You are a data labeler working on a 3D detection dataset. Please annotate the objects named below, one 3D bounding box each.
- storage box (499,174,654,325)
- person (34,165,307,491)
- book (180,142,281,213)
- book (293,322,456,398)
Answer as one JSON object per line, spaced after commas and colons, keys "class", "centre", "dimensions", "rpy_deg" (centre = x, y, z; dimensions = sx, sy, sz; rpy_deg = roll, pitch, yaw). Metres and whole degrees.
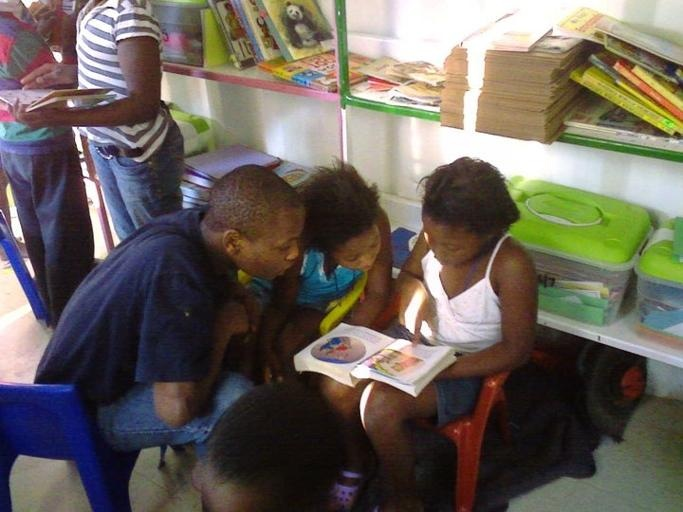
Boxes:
{"class": "storage box", "centre": [0.752, -0.019, 2.082], "dimensions": [0.622, 0.335, 0.422], "rpy_deg": [12, 39, 25]}
{"class": "person", "centre": [-0.433, 0.229, 1.688], "dimensions": [0.736, 0.880, 0.575], "rpy_deg": [-12, 30, -15]}
{"class": "book", "centre": [-0.488, -0.292, 2.548], "dimensions": [0.401, 0.082, 0.374], "rpy_deg": [-19, 32, -33]}
{"class": "book", "centre": [0.081, 0.278, 1.554], "dimensions": [0.336, 0.078, 0.302], "rpy_deg": [9, 25, 24]}
